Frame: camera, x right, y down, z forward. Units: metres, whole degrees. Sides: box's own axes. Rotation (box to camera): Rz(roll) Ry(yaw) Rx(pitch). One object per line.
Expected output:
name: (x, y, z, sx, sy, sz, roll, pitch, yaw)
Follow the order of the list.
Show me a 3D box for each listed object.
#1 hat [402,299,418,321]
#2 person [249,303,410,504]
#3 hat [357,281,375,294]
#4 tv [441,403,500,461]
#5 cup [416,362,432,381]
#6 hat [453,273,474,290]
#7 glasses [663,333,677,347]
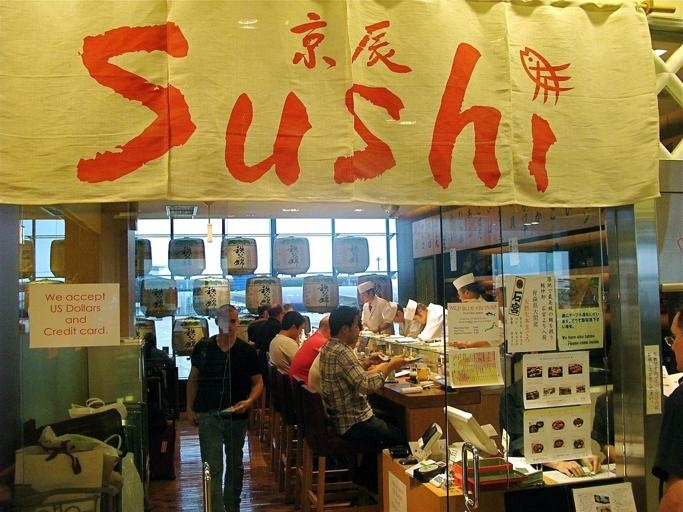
hat: (0.474, 0.375, 4.778, 0.040, 0.139, 0.099, 11, 16, -9)
person: (0.113, 0.865, 4.037, 0.541, 1.141, 0.562, -2, -4, 5)
hat: (0.160, 0.206, 4.557, 0.111, 0.085, 0.122, -1, -4, 1)
tv: (0.458, 0.671, 2.627, 0.164, 0.221, 0.299, -4, -5, 40)
cup: (0.490, 0.709, 4.161, 0.105, 0.114, 0.065, 0, -6, 0)
hat: (0.458, 0.096, 2.581, 0.056, 0.030, 0.072, -10, -15, -24)
glasses: (1.425, 0.368, 2.986, 0.037, 0.054, 0.026, 6, 10, 12)
